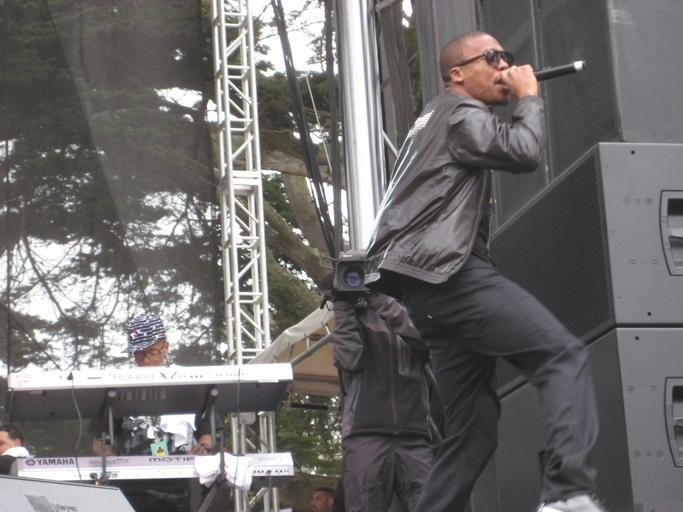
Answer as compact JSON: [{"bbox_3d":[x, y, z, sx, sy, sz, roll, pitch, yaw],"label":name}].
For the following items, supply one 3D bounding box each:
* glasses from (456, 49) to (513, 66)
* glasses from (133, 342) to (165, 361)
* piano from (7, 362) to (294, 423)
[{"bbox_3d":[1.191,-1.580,14.172,0.235,0.065,0.219,-16,-7,30],"label":"glasses"},{"bbox_3d":[-1.708,0.854,15.647,0.223,0.194,0.174,-3,1,-13],"label":"glasses"},{"bbox_3d":[-1.615,1.140,14.782,2.334,0.468,0.489,-3,-4,-11],"label":"piano"}]
